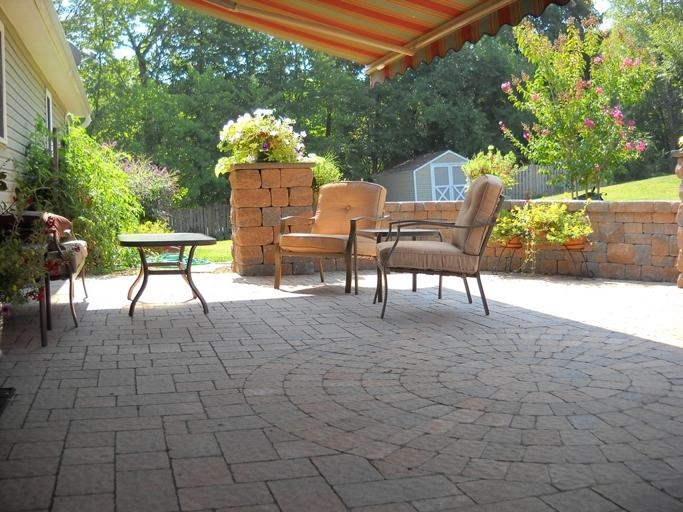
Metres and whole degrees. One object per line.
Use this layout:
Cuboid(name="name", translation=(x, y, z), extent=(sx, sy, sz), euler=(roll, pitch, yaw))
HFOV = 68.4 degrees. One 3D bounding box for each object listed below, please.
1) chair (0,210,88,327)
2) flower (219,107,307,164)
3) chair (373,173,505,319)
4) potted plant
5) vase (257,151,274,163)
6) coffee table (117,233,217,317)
Cuboid(name="chair", translation=(-2.545, 0.139, 4.324), extent=(0.509, 0.786, 1.313), euler=(0, 4, -21))
Cuboid(name="flower", translation=(-1.266, -1.845, 8.079), extent=(1.414, 0.784, 1.135), euler=(-1, 13, -7))
Cuboid(name="chair", translation=(0.963, -0.146, 5.104), extent=(1.351, 1.079, 0.953), euler=(-5, 7, -7))
Cuboid(name="potted plant", translation=(2.820, -0.204, 7.216), extent=(1.417, 0.842, 1.105), euler=(-1, 0, 0))
Cuboid(name="vase", translation=(-1.123, -1.467, 7.560), extent=(0.241, 0.182, 0.261), euler=(-2, 7, -7))
Cuboid(name="coffee table", translation=(-1.818, 0.106, 5.208), extent=(1.175, 0.753, 1.150), euler=(0, -3, -11))
